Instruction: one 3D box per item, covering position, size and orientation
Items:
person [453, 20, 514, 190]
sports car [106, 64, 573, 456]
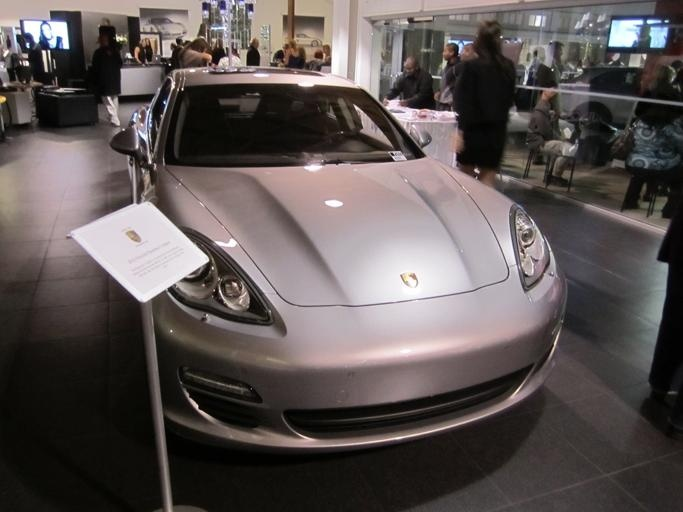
[{"bbox_3d":[1.200,-1.133,3.833,0.472,1.589,0.482,-5,25,-10],"label":"person"},{"bbox_3d":[-0.348,-0.521,3.299,1.954,1.318,4.254,-9,24,-21],"label":"sports car"}]
